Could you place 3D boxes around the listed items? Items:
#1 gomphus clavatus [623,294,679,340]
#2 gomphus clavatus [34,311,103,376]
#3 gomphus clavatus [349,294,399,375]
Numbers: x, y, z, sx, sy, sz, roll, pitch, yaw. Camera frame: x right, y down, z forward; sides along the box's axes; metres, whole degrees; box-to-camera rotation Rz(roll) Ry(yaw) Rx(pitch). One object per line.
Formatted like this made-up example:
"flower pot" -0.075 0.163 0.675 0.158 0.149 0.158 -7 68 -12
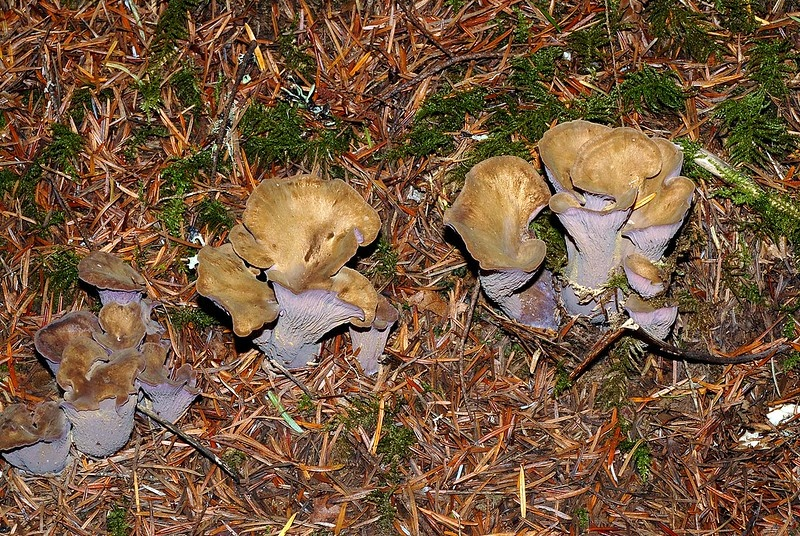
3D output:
"gomphus clavatus" 2.027 0.406 7.038 0.382 0.345 0.133 9 51 -4
"gomphus clavatus" -2.818 0.560 7.431 0.557 0.219 0.527 27 60 7
"gomphus clavatus" -0.284 0.700 7.625 0.466 0.397 0.506 -3 101 -24
